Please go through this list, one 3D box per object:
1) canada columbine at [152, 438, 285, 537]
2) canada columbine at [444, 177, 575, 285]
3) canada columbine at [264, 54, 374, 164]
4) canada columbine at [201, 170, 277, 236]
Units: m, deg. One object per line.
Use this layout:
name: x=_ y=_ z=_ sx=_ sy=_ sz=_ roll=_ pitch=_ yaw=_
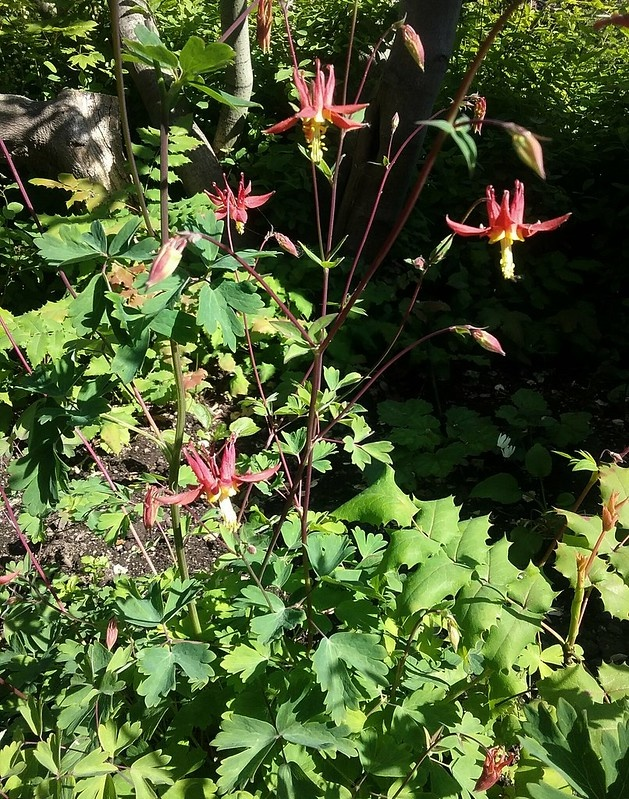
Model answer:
canada columbine: x=-0.277 y=0.236 z=2.121 sx=0.349 sy=0.256 sz=0.277 roll=-2 pitch=14 yaw=38
canada columbine: x=0.610 y=-0.529 z=2.391 sx=0.364 sy=0.282 sz=0.347 roll=-3 pitch=-8 yaw=17
canada columbine: x=0.015 y=-0.892 z=2.303 sx=0.338 sy=0.289 sz=0.262 roll=0 pitch=21 yaw=-9
canada columbine: x=-0.254 y=-0.665 z=2.593 sx=0.185 sy=0.165 sz=0.211 roll=1 pitch=13 yaw=-23
